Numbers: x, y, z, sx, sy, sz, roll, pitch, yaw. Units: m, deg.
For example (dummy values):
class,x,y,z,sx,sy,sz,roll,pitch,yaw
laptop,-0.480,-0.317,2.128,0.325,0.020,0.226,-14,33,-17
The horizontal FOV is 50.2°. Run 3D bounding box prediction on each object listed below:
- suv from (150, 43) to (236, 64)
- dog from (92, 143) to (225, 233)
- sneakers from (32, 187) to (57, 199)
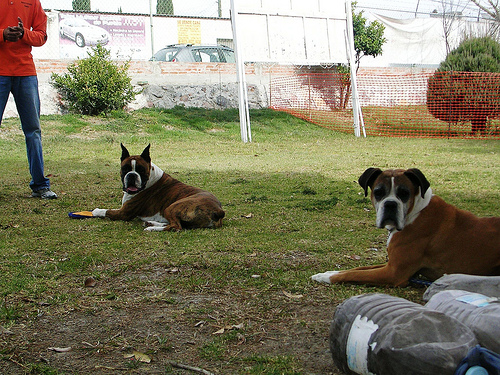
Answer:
class,x,y,z,sx,sy,sz,roll,pitch,yaw
suv,-2.062,-5.215,20.994,2.983,0.927,1.308,-9,16,-35
dog,-1.114,-0.013,6.947,1.495,1.018,0.840,9,16,38
sneakers,-3.101,0.083,8.177,0.397,0.159,0.159,0,2,17
